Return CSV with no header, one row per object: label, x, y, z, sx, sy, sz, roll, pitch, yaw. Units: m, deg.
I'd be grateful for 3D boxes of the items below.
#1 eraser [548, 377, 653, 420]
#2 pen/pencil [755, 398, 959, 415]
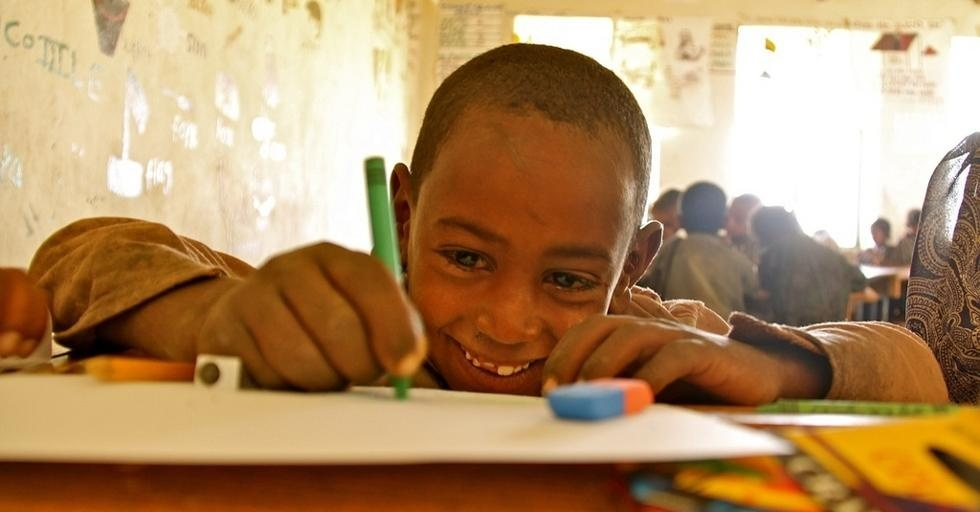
eraser,0.169,0.217,1.210,0.106,0.034,0.075,-6,0,-33
pen/pencil,0.593,0.249,1.247,0.192,0.016,0.027,2,24,3
